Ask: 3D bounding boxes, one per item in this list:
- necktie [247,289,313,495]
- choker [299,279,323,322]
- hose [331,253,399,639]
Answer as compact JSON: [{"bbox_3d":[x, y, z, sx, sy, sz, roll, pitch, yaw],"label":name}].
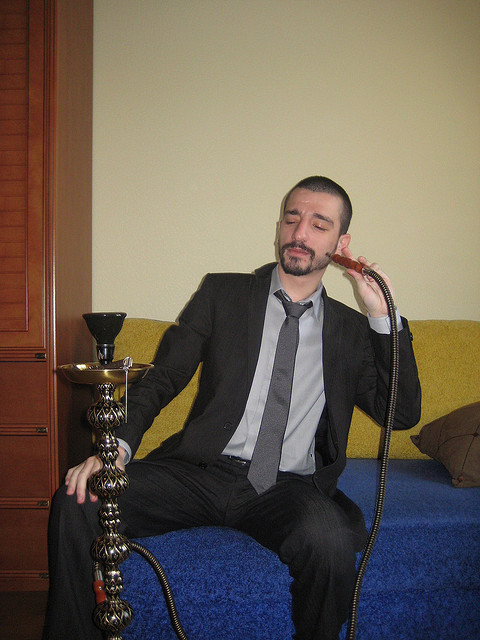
[{"bbox_3d":[0.122,0.211,1.816,0.126,0.591,0.038,11,-21,1],"label":"necktie"},{"bbox_3d":[0.268,-0.057,2.039,0.028,0.073,0.123,1,-24,-35],"label":"choker"},{"bbox_3d":[0.431,0.361,1.778,0.205,1.077,0.044,6,-10,38],"label":"hose"}]
